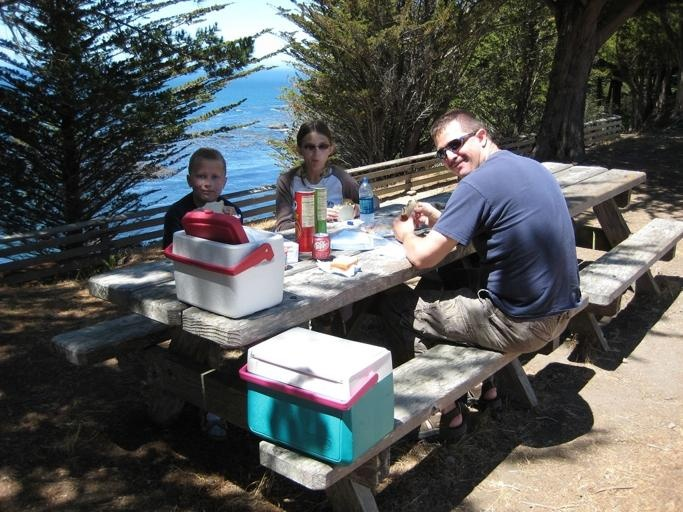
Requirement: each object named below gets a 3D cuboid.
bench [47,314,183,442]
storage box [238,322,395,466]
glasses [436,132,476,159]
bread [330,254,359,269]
[{"bbox_3d":[-1.566,0.891,3.379,0.524,0.496,0.956,21,27,39],"label":"bench"},{"bbox_3d":[-0.114,0.617,2.183,0.567,0.484,0.353,8,21,33],"label":"storage box"},{"bbox_3d":[0.745,-0.693,3.079,0.194,0.053,0.188,-31,7,-33],"label":"glasses"},{"bbox_3d":[0.008,0.040,2.911,0.110,0.022,0.106,11,22,38],"label":"bread"}]
